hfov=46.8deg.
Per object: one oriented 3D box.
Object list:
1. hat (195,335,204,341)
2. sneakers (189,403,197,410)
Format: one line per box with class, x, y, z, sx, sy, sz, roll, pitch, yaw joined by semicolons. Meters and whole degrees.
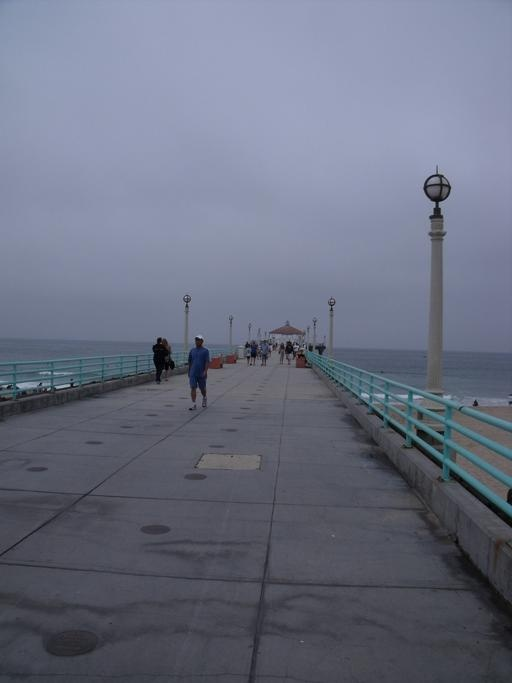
hat;-0.940;-0.064;9.634;0.078;0.075;0.134;2;-36;18
sneakers;-1.439;1.461;13.498;0.227;0.197;0.095;4;-4;-23
